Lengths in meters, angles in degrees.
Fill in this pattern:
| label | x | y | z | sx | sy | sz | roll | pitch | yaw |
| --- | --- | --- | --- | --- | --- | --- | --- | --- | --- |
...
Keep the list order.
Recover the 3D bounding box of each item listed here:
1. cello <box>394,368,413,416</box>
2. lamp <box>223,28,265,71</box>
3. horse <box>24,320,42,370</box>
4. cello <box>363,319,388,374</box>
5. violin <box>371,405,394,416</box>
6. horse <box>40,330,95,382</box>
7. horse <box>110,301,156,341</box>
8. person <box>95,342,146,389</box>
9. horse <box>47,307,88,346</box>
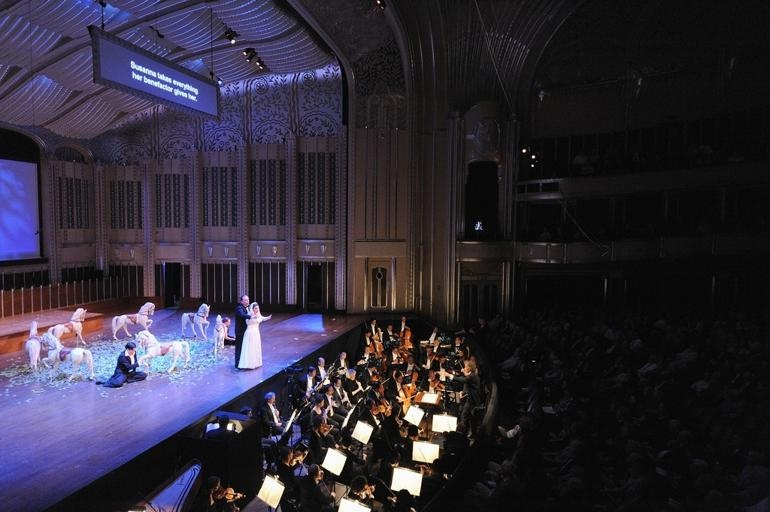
| label | x | y | z | sx | sy | sz | roll | pitch | yaw |
| --- | --- | --- | --- | --- | --- | --- | --- | --- | --- |
| cello | 0.352 | 2.860 | 10.722 | 0.285 | 0.595 | 0.194 | 13 | -29 | -30 |
| lamp | -4.141 | -6.081 | 14.975 | 0.281 | 0.960 | 0.289 | -41 | 6 | -16 |
| horse | -7.997 | 2.001 | 11.493 | 0.270 | 1.076 | 1.348 | 1 | -4 | -35 |
| cello | -0.280 | 2.440 | 13.270 | 0.508 | 1.132 | 0.352 | -38 | -48 | 22 |
| violin | -0.071 | 2.984 | 9.912 | 0.331 | 0.128 | 0.240 | -7 | 4 | -37 |
| horse | -6.902 | 2.120 | 10.970 | 1.221 | 0.856 | 0.373 | 8 | 19 | 6 |
| horse | -6.957 | 1.765 | 13.912 | 0.965 | 0.954 | 2.123 | 1 | -5 | -29 |
| person | -5.579 | 2.276 | 10.807 | 0.733 | 0.835 | 0.861 | 10 | 9 | 37 |
| horse | -7.732 | 1.781 | 12.303 | 0.220 | 0.911 | 1.146 | 2 | 5 | 13 |
